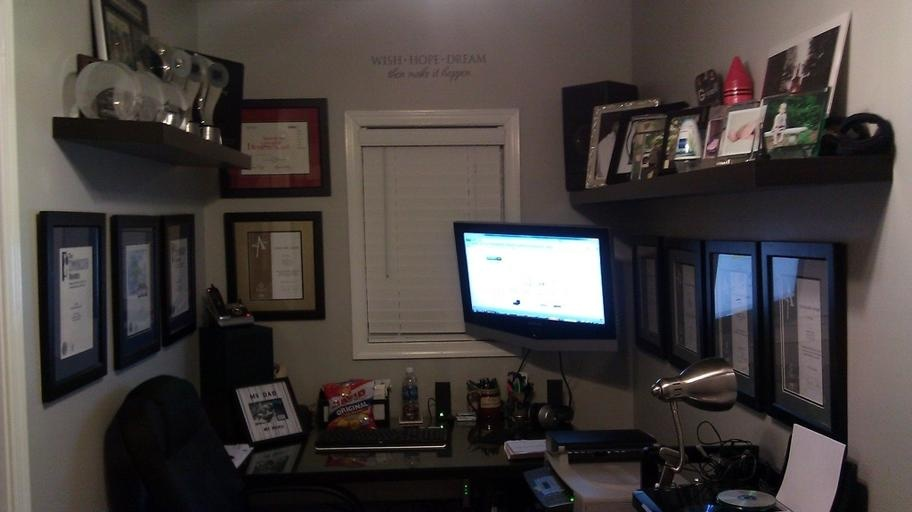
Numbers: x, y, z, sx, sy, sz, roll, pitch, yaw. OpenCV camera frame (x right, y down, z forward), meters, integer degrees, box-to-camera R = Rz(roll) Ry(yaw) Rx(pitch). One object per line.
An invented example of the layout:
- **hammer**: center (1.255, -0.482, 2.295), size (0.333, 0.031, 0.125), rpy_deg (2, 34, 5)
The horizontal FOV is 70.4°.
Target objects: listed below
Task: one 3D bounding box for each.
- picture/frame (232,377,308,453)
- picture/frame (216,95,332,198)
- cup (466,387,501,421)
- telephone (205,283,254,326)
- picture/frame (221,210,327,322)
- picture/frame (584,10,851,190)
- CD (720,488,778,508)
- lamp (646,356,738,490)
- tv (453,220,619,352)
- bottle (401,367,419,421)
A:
- **picture/frame**: center (-1.101, 0.927, 3.731), size (0.394, 0.388, 0.056), rpy_deg (-13, -9, -31)
- **picture/frame**: center (-1.160, -0.696, 4.000), size (0.711, 0.613, 0.053), rpy_deg (-1, 3, -1)
- **cup**: center (0.173, 0.909, 4.027), size (0.204, 0.181, 0.200), rpy_deg (0, 3, 0)
- **telephone**: center (-1.383, 0.301, 3.856), size (0.227, 0.137, 0.355), rpy_deg (-7, 19, -36)
- **picture/frame**: center (-1.174, 0.042, 4.060), size (0.777, 0.788, 0.065), rpy_deg (0, 4, -4)
- **picture/frame**: center (1.216, -0.711, 3.246), size (0.300, 0.716, 1.286), rpy_deg (-4, 6, -32)
- **CD**: center (1.250, 1.041, 2.781), size (0.232, 0.036, 0.128), rpy_deg (1, 6, 21)
- **lamp**: center (1.075, 0.752, 2.931), size (0.348, 0.596, 0.219), rpy_deg (1, 5, 15)
- **tv**: center (0.492, 0.171, 3.848), size (0.902, 0.622, 0.123), rpy_deg (0, 13, 26)
- **bottle**: center (-0.288, 0.861, 4.062), size (0.115, 0.315, 0.176), rpy_deg (-1, 5, -5)
